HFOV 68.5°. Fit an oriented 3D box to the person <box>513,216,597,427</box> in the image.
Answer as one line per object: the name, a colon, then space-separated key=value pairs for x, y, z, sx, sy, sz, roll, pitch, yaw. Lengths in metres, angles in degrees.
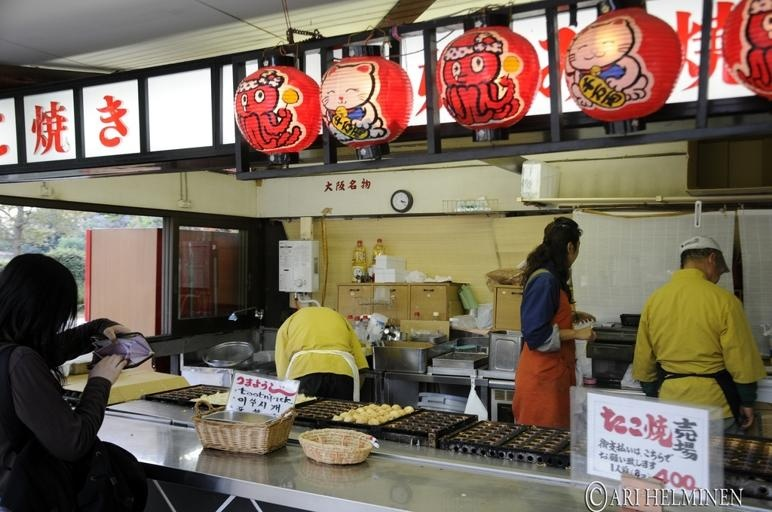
person: x=1.104 y=0.484 z=3.806 sx=0.469 sy=1.449 sz=0.558 roll=1 pitch=12 yaw=28

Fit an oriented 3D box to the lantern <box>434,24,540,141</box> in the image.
lantern: x=0.519 y=-0.840 z=2.625 sx=0.493 sy=0.497 sz=0.461 roll=2 pitch=7 yaw=16

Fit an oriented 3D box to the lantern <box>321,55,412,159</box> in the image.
lantern: x=-0.061 y=-0.742 z=2.874 sx=0.461 sy=0.487 sz=0.441 roll=3 pitch=4 yaw=39

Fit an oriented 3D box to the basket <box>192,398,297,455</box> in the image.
basket: x=-0.726 y=0.888 z=2.907 sx=0.525 sy=0.254 sz=0.230 roll=-3 pitch=11 yaw=8

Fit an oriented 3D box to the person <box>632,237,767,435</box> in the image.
person: x=1.876 y=0.546 z=3.461 sx=0.378 sy=0.892 sz=0.645 roll=-10 pitch=12 yaw=-26

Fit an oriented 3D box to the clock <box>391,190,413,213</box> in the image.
clock: x=0.214 y=-0.699 z=7.075 sx=0.313 sy=0.279 sz=0.089 roll=-2 pitch=-6 yaw=33

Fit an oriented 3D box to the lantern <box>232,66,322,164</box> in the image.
lantern: x=-0.558 y=-0.797 z=3.030 sx=0.496 sy=0.513 sz=0.466 roll=8 pitch=11 yaw=37

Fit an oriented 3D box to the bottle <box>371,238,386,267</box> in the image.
bottle: x=-0.090 y=-0.069 z=7.369 sx=0.169 sy=0.335 sz=0.214 roll=-12 pitch=13 yaw=-33

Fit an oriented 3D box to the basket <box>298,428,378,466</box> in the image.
basket: x=-0.274 y=0.924 z=2.770 sx=0.362 sy=0.103 sz=0.367 roll=11 pitch=-5 yaw=-42

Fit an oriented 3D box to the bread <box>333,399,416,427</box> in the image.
bread: x=-0.073 y=0.895 z=3.198 sx=0.381 sy=0.073 sz=0.345 roll=0 pitch=11 yaw=21

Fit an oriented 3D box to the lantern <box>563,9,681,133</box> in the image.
lantern: x=0.978 y=-0.744 z=2.499 sx=0.519 sy=0.518 sz=0.456 roll=2 pitch=0 yaw=34

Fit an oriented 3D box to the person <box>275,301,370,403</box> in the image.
person: x=-0.537 y=0.774 z=4.397 sx=0.597 sy=0.726 sz=0.325 roll=-7 pitch=11 yaw=-13
